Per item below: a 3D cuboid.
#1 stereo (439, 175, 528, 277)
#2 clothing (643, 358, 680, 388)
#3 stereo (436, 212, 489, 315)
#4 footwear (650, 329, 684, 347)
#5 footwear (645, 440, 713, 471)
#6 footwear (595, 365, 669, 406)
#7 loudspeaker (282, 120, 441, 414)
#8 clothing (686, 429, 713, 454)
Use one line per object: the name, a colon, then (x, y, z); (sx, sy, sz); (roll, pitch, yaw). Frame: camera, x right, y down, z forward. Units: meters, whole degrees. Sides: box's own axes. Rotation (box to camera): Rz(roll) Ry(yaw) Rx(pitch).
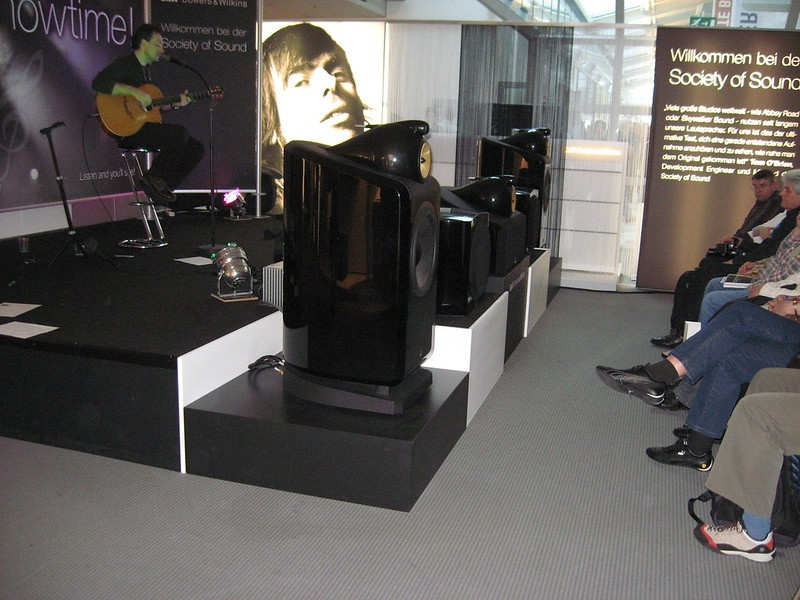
stereo: (0.695, -0.600, 4.263); (0.668, 0.757, 0.740); (3, 13, 21)
clothing: (1.325, 0.349, 2.940); (0.159, 0.163, 0.117); (-22, 9, -19)
stereo: (0.347, -0.213, 3.302); (0.299, 0.563, 0.564); (3, 2, 21)
footwear: (2.191, 0.317, 4.771); (0.275, 0.131, 0.097); (5, 10, 16)
footwear: (1.443, 0.804, 3.031); (0.354, 0.157, 0.133); (6, 15, 17)
footwear: (1.273, 0.474, 3.145); (0.365, 0.131, 0.165); (25, 70, 27)
loudspeaker: (-0.194, -0.137, 2.588); (0.717, 1.261, 0.433); (2, 19, 5)
clothing: (1.518, 0.717, 2.927); (0.133, 0.140, 0.083); (4, 0, 39)
